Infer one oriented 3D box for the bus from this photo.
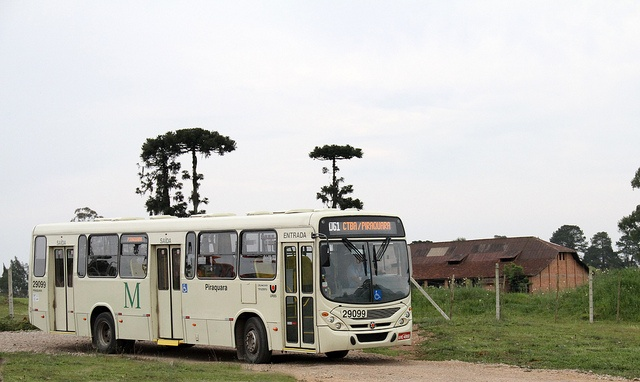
[{"bbox_3d":[-4.907,3.879,28.577,17.431,6.055,3.060,-1,0,25],"label":"bus"}]
